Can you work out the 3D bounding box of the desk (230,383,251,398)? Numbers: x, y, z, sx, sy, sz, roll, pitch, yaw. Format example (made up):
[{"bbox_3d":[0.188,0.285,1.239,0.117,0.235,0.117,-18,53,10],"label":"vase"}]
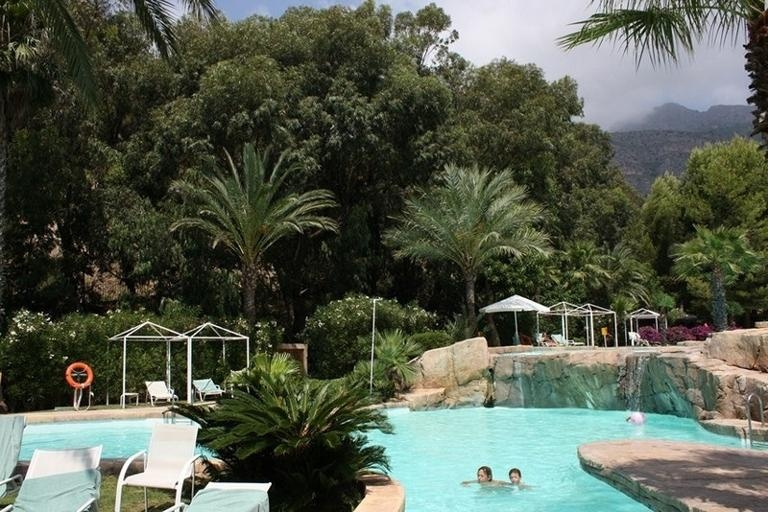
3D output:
[{"bbox_3d":[-2.736,2.552,12.149,0.364,0.234,1.169,3,0,-13],"label":"desk"}]

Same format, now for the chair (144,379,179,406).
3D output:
[{"bbox_3d":[-7.608,4.563,21.676,0.920,0.890,1.272,7,-11,-37],"label":"chair"}]

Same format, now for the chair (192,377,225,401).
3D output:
[{"bbox_3d":[-6.209,4.670,22.257,1.011,0.666,1.648,3,0,-17],"label":"chair"}]

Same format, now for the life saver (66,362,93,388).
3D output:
[{"bbox_3d":[-10.075,3.949,20.983,0.904,0.715,1.507,3,0,-26],"label":"life saver"}]
